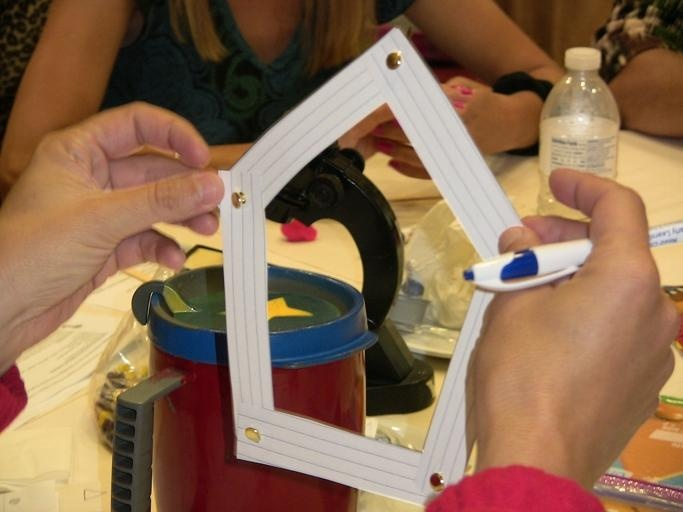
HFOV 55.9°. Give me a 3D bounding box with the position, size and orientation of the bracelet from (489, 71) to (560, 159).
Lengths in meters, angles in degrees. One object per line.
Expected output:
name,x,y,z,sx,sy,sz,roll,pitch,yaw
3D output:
bracelet,0.395,-0.326,1.427,0.140,0.227,0.072,10,1,32

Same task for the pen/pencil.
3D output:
pen/pencil,0.196,0.000,0.571,0.116,0.024,0.023,-18,31,-2
